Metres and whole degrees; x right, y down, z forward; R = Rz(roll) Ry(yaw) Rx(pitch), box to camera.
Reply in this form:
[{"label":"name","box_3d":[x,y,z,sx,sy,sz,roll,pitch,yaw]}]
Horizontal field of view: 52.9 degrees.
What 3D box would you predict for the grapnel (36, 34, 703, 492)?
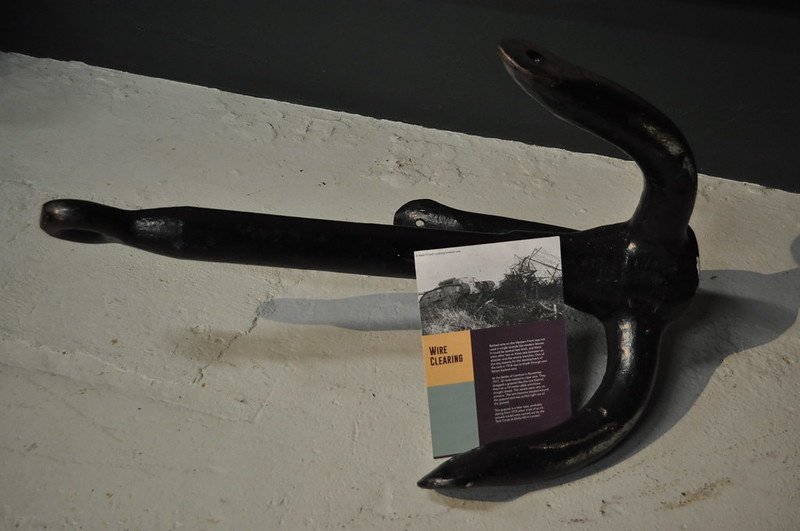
[{"label":"grapnel","box_3d":[-0.049,-0.145,1.839,1.488,0.825,0.547,-1,81,2]}]
